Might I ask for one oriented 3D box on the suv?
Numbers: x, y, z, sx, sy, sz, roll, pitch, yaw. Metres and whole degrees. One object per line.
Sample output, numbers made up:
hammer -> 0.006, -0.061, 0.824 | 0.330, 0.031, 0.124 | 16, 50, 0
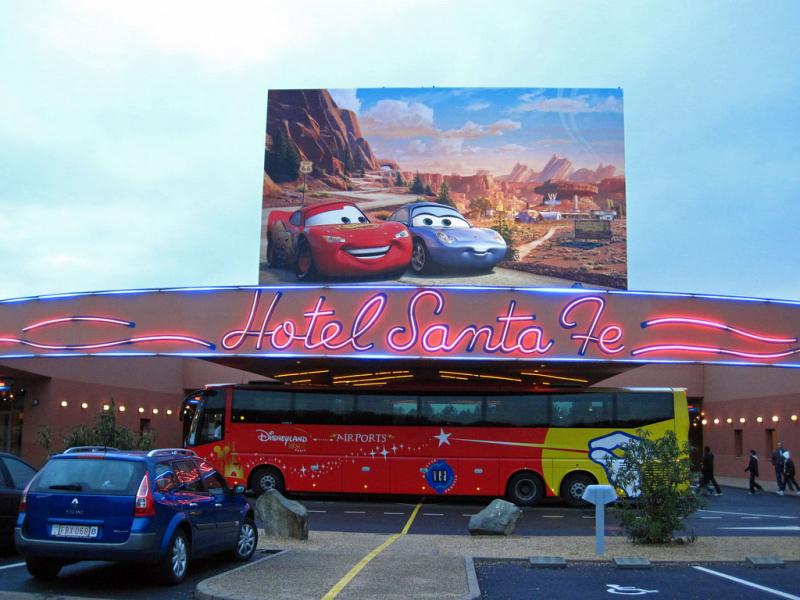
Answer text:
suv -> -4.195, 3.646, 13.779 | 2.129, 1.510, 3.477 | -2, -4, 20
